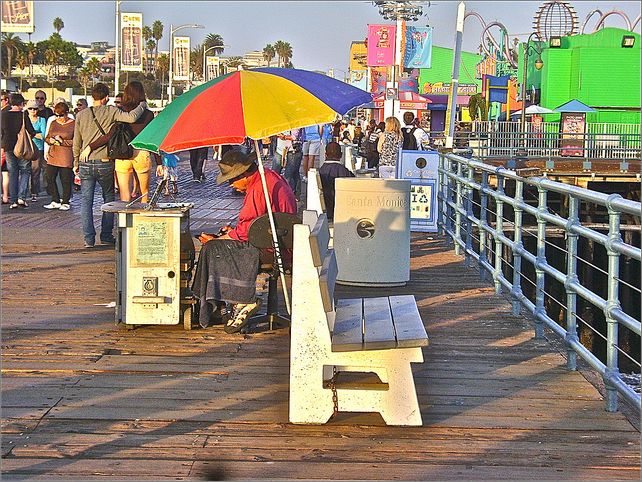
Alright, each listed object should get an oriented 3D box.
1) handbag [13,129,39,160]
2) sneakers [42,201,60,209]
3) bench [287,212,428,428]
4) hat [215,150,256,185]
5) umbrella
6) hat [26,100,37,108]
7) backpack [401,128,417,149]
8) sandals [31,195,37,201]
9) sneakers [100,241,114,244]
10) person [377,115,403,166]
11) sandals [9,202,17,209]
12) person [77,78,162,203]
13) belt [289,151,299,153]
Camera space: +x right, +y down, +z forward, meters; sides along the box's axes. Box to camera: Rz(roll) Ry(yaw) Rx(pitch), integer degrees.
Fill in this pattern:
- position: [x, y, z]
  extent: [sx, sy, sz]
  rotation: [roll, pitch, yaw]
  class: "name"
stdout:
- position: [-5.527, -1.807, 22.777]
  extent: [0.416, 0.637, 0.342]
  rotation: [-2, 10, -12]
  class: "handbag"
- position: [-5.029, -0.675, 22.817]
  extent: [0.402, 0.154, 0.139]
  rotation: [2, 9, 21]
  class: "sneakers"
- position: [0.396, 0.776, 13.094]
  extent: [1.439, 1.687, 2.635]
  rotation: [3, 8, 2]
  class: "bench"
- position: [-0.967, -0.911, 14.178]
  extent: [0.413, 0.165, 0.408]
  rotation: [-19, 22, 41]
  class: "hat"
- position: [-0.727, -1.196, 14.361]
  extent: [2.569, 1.517, 2.481]
  rotation: [-7, 17, 19]
  class: "umbrella"
- position: [-5.648, -2.667, 23.849]
  extent: [0.191, 0.214, 0.205]
  rotation: [-2, 4, -13]
  class: "hat"
- position: [1.861, -2.110, 25.332]
  extent: [0.318, 0.425, 0.722]
  rotation: [0, 10, 3]
  class: "backpack"
- position: [-5.772, -0.856, 24.584]
  extent: [0.087, 0.087, 0.264]
  rotation: [-13, 0, -12]
  class: "sandals"
- position: [-3.229, 0.028, 18.508]
  extent: [0.214, 0.074, 0.067]
  rotation: [-1, 9, 1]
  class: "sneakers"
- position: [1.268, -1.796, 22.136]
  extent: [0.401, 0.912, 0.824]
  rotation: [0, 10, 3]
  class: "person"
- position: [-5.754, -0.658, 22.771]
  extent: [0.093, 0.096, 0.161]
  rotation: [-11, -19, 30]
  class: "sandals"
- position: [-2.999, -1.115, 18.827]
  extent: [1.181, 1.682, 0.538]
  rotation: [-8, -22, -14]
  class: "person"
- position: [-0.568, -1.886, 25.915]
  extent: [0.267, 0.067, 0.099]
  rotation: [-1, 0, -3]
  class: "belt"
